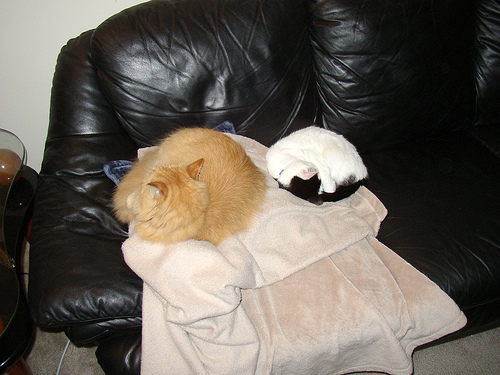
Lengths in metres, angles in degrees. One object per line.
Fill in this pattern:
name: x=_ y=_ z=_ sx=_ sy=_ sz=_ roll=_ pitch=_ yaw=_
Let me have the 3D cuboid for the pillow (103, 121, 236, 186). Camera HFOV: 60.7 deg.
pillow: x=-0.347 y=-0.140 z=1.789 sx=0.312 sy=0.102 sz=0.136 roll=-28 pitch=32 yaw=-18

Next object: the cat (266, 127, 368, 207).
cat: x=0.297 y=-0.099 z=1.905 sx=0.434 sy=0.245 sz=0.257 roll=-2 pitch=42 yaw=-11
